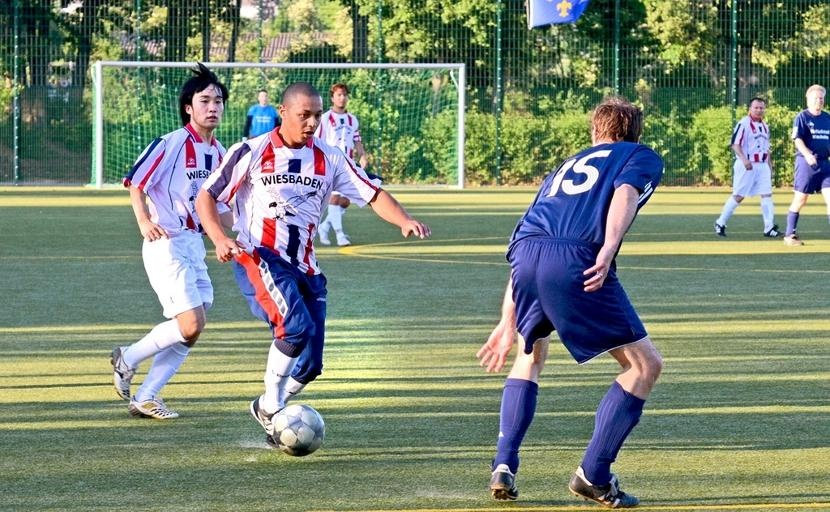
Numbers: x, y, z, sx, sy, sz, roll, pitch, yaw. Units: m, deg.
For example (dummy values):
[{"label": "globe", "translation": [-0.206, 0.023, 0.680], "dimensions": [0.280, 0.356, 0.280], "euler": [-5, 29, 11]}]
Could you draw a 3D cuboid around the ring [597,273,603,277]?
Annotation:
[{"label": "ring", "translation": [2.220, 0.198, 19.419], "dimensions": [0.077, 0.041, 0.010], "euler": [2, 8, 5]}]

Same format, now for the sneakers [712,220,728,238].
[{"label": "sneakers", "translation": [5.929, -0.551, 31.411], "dimensions": [0.213, 0.215, 0.343], "euler": [5, 20, 1]}]
